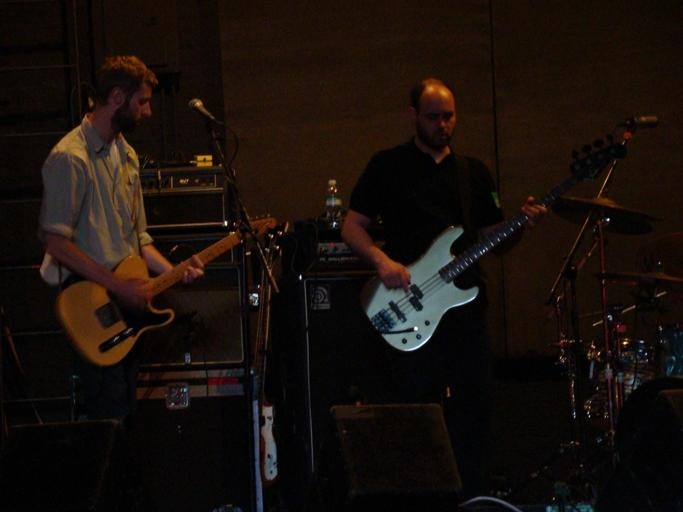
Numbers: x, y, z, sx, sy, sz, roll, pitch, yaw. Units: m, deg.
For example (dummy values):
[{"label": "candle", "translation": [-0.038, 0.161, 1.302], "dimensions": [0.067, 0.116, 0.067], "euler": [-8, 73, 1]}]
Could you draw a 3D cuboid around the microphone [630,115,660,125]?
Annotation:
[{"label": "microphone", "translation": [1.742, -0.766, 4.338], "dimensions": [0.111, 0.076, 0.317], "euler": [2, 5, 28]}]

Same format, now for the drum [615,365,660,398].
[{"label": "drum", "translation": [1.795, 0.783, 4.710], "dimensions": [0.320, 0.186, 0.157], "euler": [-4, 6, -38]}]
